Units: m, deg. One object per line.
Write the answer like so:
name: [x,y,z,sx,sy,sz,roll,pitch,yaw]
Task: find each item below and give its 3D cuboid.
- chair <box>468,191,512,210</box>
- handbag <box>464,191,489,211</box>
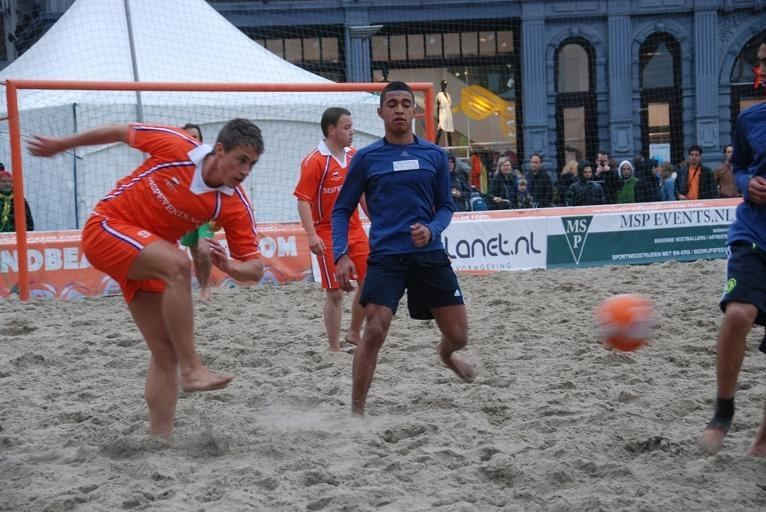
chair: [1.753,-0.913,16.145,0.566,0.547,0.394,0,3,-13]
handbag: [1.551,-0.931,16.155,0.349,0.465,0.260,6,-26,-25]
